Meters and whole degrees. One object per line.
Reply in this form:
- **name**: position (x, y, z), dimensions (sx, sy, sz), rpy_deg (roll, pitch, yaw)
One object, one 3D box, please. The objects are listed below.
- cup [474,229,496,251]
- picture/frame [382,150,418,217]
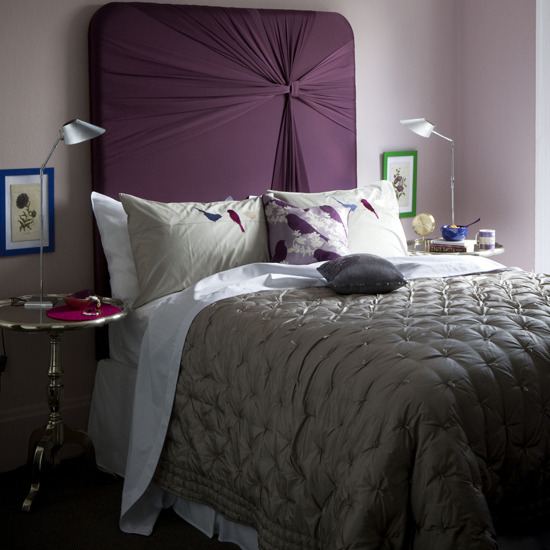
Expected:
- **cup**: position (1.366, -0.225, 3.314), dimensions (0.147, 0.154, 0.125), rpy_deg (1, 3, 8)
- **picture/frame**: position (0.839, -0.644, 3.517), dimensions (0.430, 0.687, 0.025), rpy_deg (-11, 14, -42)
